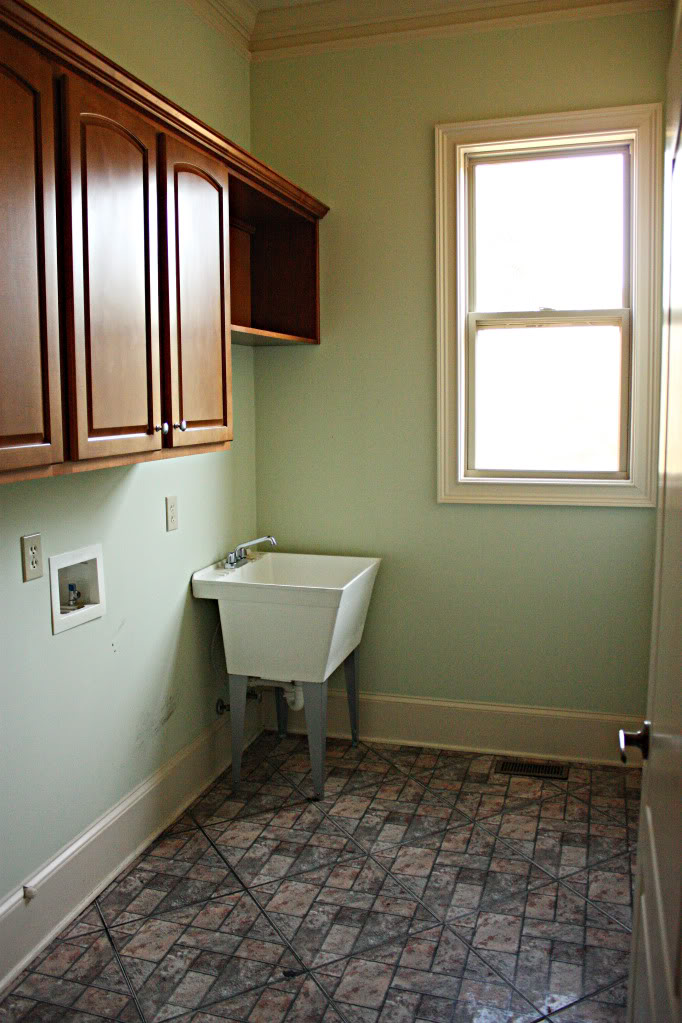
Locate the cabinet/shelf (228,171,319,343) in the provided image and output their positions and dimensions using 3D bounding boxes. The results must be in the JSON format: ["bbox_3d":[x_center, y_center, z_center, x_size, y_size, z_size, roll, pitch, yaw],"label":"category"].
[{"bbox_3d":[-0.273,-0.886,2.775,0.309,0.515,0.533,0,3,10],"label":"cabinet/shelf"}]

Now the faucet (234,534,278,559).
[{"bbox_3d":[-0.359,0.136,3.068,0.157,0.079,0.082,6,10,33],"label":"faucet"}]

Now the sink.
[{"bbox_3d":[-0.200,0.423,2.785,0.571,0.451,0.648,0,3,15],"label":"sink"}]
